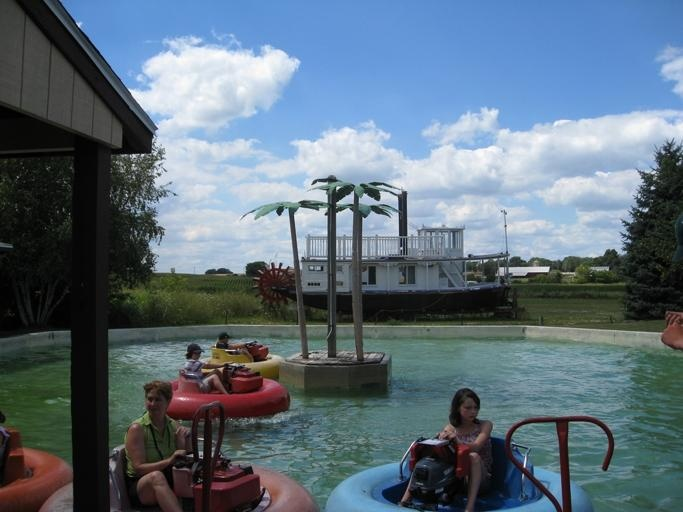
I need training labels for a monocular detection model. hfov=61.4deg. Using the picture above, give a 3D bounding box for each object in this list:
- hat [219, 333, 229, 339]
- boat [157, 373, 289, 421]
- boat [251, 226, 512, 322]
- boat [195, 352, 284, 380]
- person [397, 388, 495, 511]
[{"bbox_3d":[-2.662,1.821,12.999,0.183,0.172,0.844,-2,-3,-8],"label":"hat"},{"bbox_3d":[-1.931,2.662,10.500,1.786,0.439,1.735,2,-1,9],"label":"boat"},{"bbox_3d":[2.488,0.834,27.264,11.006,4.458,6.016,-3,-3,8],"label":"boat"},{"bbox_3d":[-1.977,2.670,13.753,1.252,0.317,1.273,2,0,39],"label":"boat"},{"bbox_3d":[1.223,2.187,6.757,0.998,1.313,1.278,-10,-25,43],"label":"person"}]
